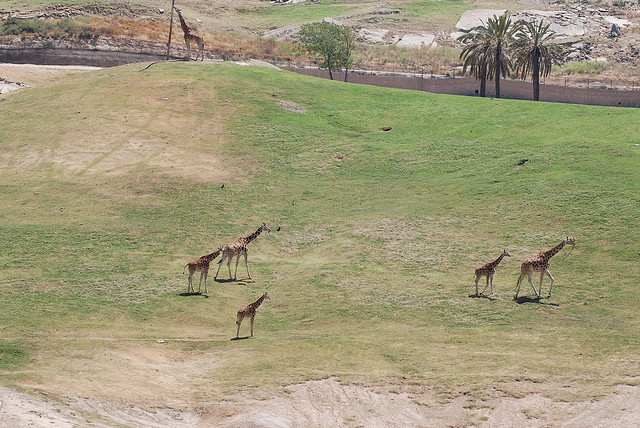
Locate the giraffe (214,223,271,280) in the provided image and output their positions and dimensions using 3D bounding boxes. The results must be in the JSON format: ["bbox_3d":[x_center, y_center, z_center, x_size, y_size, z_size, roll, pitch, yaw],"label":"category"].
[{"bbox_3d":[-9.211,4.712,180.764,3.442,6.168,5.767,6,8,31],"label":"giraffe"}]

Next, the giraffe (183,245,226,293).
[{"bbox_3d":[-13.253,6.721,178.164,3.538,5.040,2.425,-6,11,-45],"label":"giraffe"}]

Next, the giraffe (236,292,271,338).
[{"bbox_3d":[-7.673,11.594,174.383,2.455,4.884,3.339,7,9,36],"label":"giraffe"}]
